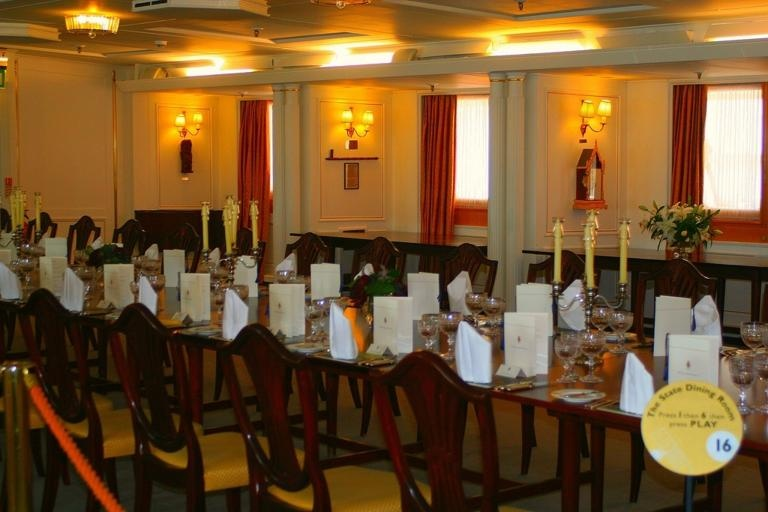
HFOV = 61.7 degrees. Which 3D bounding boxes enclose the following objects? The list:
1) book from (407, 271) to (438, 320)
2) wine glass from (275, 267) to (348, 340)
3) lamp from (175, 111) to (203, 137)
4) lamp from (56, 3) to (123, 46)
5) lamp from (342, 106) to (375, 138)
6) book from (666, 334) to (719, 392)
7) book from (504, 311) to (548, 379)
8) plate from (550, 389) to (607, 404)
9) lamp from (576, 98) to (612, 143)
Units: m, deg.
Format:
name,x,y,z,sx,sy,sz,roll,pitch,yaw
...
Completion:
name,x,y,z,sx,sy,sz,roll,pitch,yaw
book,0.272,0.285,4.590,0.187,0.335,0.211,1,-2,10
wine glass,-0.530,0.300,4.285,0.527,0.407,0.286,-4,4,-42
lamp,-3.809,-2.572,12.454,0.478,0.488,0.244,-7,7,-44
lamp,-3.691,-2.938,8.248,0.606,0.416,0.614,-1,3,-9
lamp,-0.400,-2.146,10.382,0.204,0.504,0.625,3,7,43
book,1.236,0.424,2.560,0.203,0.207,0.112,3,4,41
book,0.619,0.443,3.157,0.220,0.289,0.172,9,-17,-23
plate,0.836,0.596,2.748,0.227,0.020,0.165,0,5,13
lamp,2.818,-1.814,8.672,0.519,0.564,0.333,-7,16,-24
